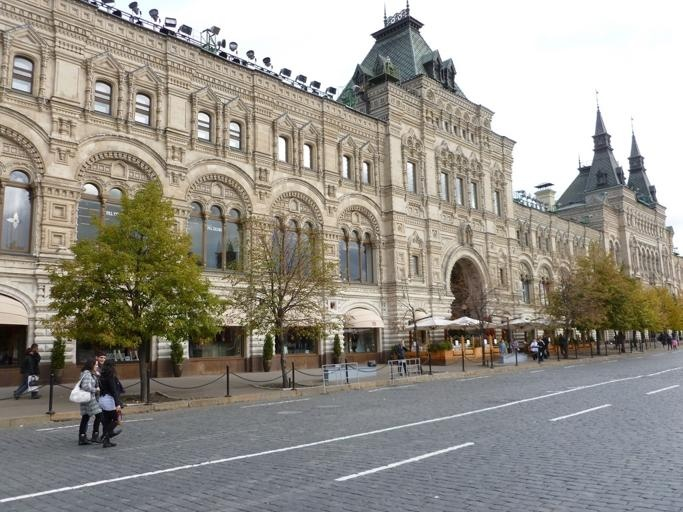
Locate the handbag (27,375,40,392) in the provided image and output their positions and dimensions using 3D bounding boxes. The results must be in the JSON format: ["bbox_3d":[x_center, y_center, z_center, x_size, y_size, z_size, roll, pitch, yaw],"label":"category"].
[{"bbox_3d":[-12.573,5.171,24.883,0.421,0.671,0.455,6,-12,-33],"label":"handbag"}]

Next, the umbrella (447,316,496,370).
[{"bbox_3d":[9.525,5.643,45.113,3.968,3.435,3.779,-5,-26,12],"label":"umbrella"}]

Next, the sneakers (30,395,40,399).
[{"bbox_3d":[-12.552,5.777,25.005,0.335,0.203,0.110,-1,-1,-11],"label":"sneakers"}]

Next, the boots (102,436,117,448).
[{"bbox_3d":[-6.264,4.966,16.365,0.389,0.267,0.370,1,-10,-8],"label":"boots"}]

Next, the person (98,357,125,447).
[{"bbox_3d":[-6.328,4.002,16.667,0.574,2.275,0.738,2,-10,-16],"label":"person"}]

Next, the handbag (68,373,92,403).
[{"bbox_3d":[-7.042,3.581,16.352,0.411,0.726,0.673,9,-14,-44],"label":"handbag"}]

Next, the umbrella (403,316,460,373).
[{"bbox_3d":[6.522,5.854,43.544,3.246,3.703,3.592,0,-14,2],"label":"umbrella"}]
